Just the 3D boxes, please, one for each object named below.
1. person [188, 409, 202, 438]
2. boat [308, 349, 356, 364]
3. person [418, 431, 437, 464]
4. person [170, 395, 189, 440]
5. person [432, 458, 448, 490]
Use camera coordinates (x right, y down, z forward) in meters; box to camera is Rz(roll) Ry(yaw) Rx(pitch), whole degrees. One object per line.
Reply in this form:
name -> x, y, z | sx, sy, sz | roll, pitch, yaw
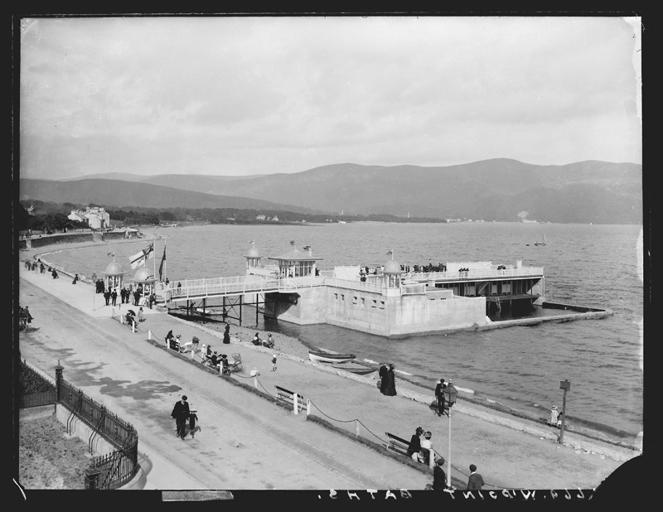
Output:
person -> -5.239, 6.355, 30.469 | 0.492, 0.963, 1.146 | 6, 4, -8
boat -> -0.068, 6.399, 50.202 | 2.790, 0.440, 2.650 | 8, 4, 1
person -> 3.578, 7.185, 29.728 | 0.547, 0.818, 1.238 | 7, 4, 3
person -> -5.711, 5.981, 30.009 | 0.603, 1.709, 1.139 | 6, 4, -11
person -> 3.810, 7.732, 27.405 | 0.462, 1.549, 0.564 | -7, 18, 1
